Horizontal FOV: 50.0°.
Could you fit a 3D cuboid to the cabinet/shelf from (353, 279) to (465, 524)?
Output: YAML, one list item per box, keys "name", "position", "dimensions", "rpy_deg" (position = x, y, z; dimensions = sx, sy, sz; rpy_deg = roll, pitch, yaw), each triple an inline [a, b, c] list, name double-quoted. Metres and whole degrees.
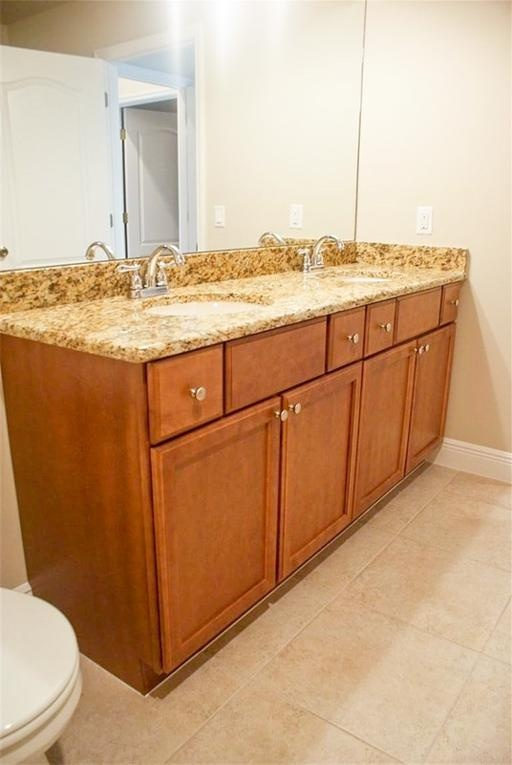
- name: "cabinet/shelf"
  position: [0.555, 0.063, 2.015]
  dimensions: [0.233, 0.624, 0.641]
  rpy_deg: [14, 31, 32]

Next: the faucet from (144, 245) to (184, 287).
- name: "faucet"
  position: [-0.251, -0.306, 1.443]
  dimensions: [0.084, 0.115, 0.431]
  rpy_deg: [-1, 11, -12]

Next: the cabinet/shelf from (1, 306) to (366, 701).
- name: "cabinet/shelf"
  position: [-0.167, 0.153, 1.550]
  dimensions: [0.615, 1.003, 0.972]
  rpy_deg: [14, 25, 35]
